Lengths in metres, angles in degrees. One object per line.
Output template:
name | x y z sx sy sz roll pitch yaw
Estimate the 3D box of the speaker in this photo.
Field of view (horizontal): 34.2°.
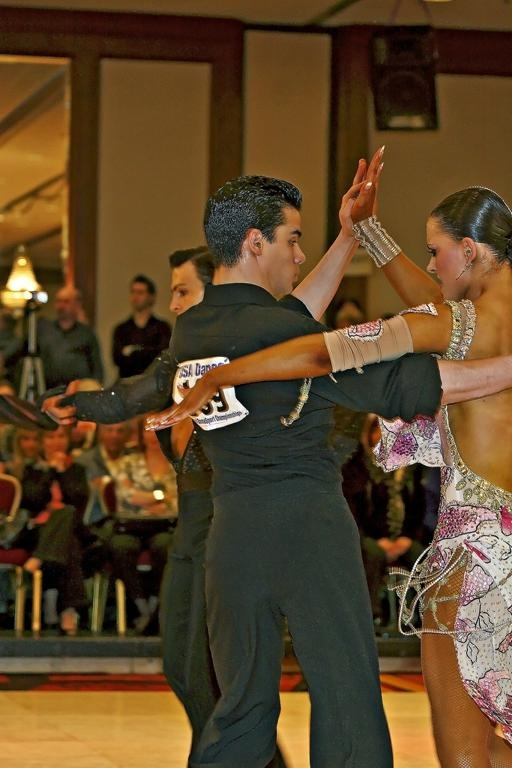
speaker | 1.112 -2.308 6.385 0.473 0.652 0.541 0 -10 7
